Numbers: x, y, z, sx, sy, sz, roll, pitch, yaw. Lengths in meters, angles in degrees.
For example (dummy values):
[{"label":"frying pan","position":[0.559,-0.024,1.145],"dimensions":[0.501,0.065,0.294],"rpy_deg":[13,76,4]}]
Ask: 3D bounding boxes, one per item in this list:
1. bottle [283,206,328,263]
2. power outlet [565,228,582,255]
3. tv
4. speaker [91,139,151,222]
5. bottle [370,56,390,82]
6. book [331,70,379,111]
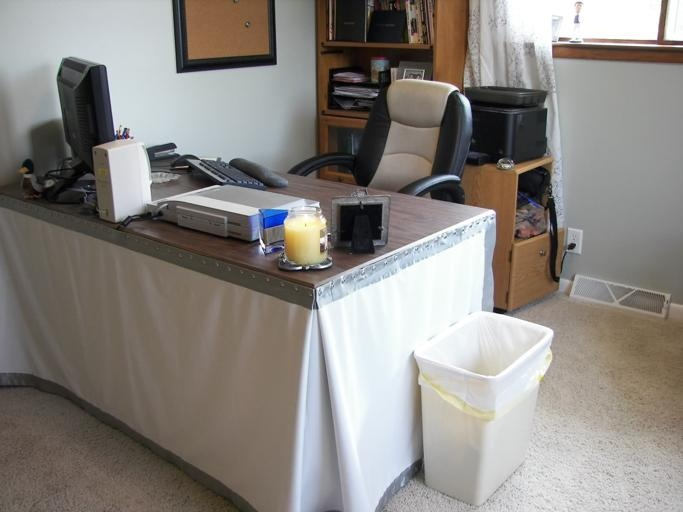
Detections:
[{"label":"bottle","position":[-0.088,-0.081,1.617],"dimensions":[0.129,0.176,0.144],"rpy_deg":[5,19,18]},{"label":"power outlet","position":[1.495,-0.099,3.367],"dimensions":[0.019,0.219,0.114],"rpy_deg":[-17,21,-40]},{"label":"tv","position":[-1.094,-0.516,2.182],"dimensions":[0.267,0.558,0.507],"rpy_deg":[-9,28,-32]},{"label":"speaker","position":[-0.813,-0.269,1.936],"dimensions":[0.168,0.348,0.206],"rpy_deg":[17,26,36]},{"label":"bottle","position":[0.260,-1.309,3.660],"dimensions":[0.142,0.192,0.161],"rpy_deg":[1,25,3]},{"label":"book","position":[0.105,-1.169,3.703],"dimensions":[0.322,0.242,0.352],"rpy_deg":[19,29,32]}]
